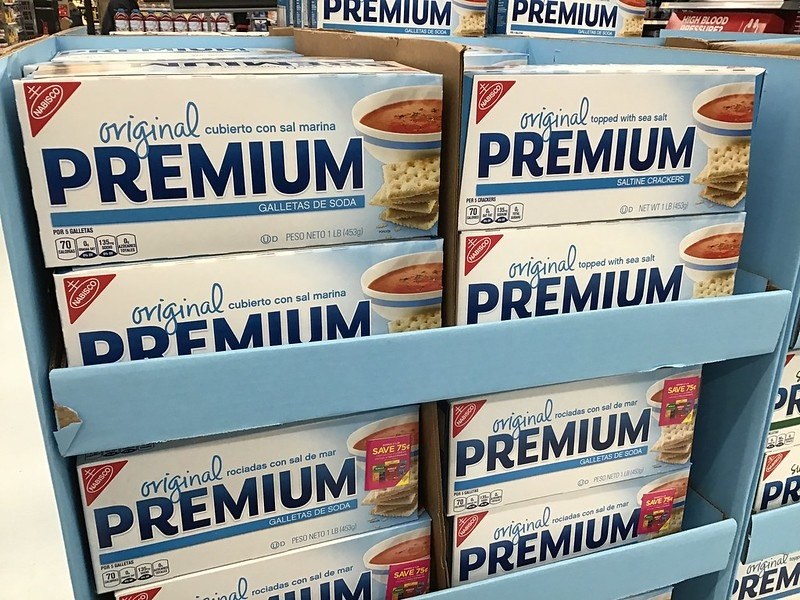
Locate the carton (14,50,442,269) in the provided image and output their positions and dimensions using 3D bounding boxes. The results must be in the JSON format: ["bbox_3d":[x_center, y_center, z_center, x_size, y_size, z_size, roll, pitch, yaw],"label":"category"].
[{"bbox_3d":[-0.335,-0.228,1.300,0.583,0.422,0.260,-6,19,-14],"label":"carton"}]

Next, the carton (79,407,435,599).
[{"bbox_3d":[-0.276,0.358,1.302,0.629,0.320,0.279,-9,8,-21],"label":"carton"}]
